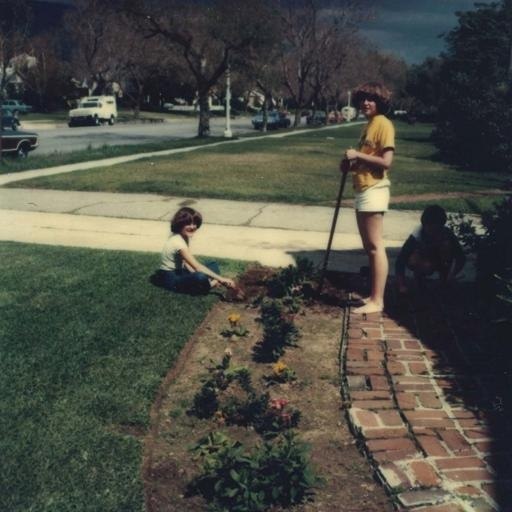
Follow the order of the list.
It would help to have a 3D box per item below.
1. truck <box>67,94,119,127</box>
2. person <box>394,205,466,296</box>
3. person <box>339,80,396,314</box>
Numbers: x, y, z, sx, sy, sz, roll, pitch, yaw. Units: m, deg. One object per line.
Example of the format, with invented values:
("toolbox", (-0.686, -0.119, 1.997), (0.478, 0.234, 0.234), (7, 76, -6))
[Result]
("truck", (-12.128, -10.521, 41.082), (2.059, 2.376, 4.378), (2, 10, 9))
("person", (1.653, -0.075, 5.281), (0.557, 0.895, 0.594), (6, 18, 25))
("person", (0.962, -0.486, 4.886), (0.426, 1.956, 0.679), (4, 13, 14))
